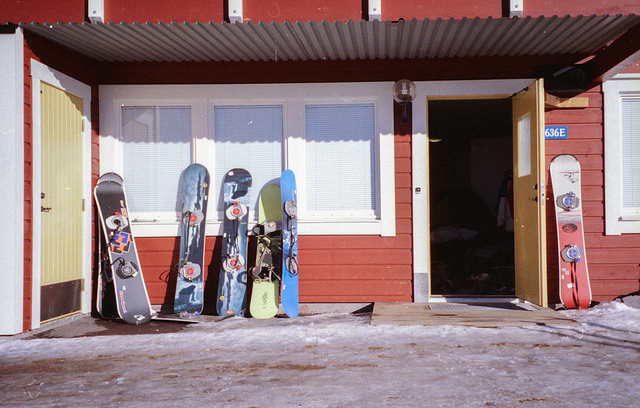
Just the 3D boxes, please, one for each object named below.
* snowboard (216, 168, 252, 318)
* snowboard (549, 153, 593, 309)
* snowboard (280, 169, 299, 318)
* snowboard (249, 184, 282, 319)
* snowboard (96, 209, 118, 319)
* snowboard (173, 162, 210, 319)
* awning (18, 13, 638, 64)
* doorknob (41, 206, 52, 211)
[{"bbox_3d":[-1.216,0.514,9.186,0.439,1.964,0.279,0,0,5],"label":"snowboard"},{"bbox_3d":[3.536,0.433,9.115,0.477,2.264,0.382,-1,2,-1],"label":"snowboard"},{"bbox_3d":[-0.427,0.543,9.017,0.255,1.929,0.211,0,-3,3],"label":"snowboard"},{"bbox_3d":[-0.751,0.672,9.243,0.425,1.878,0.374,1,-2,-1],"label":"snowboard"},{"bbox_3d":[-2.992,0.926,9.112,0.197,1.330,0.352,-2,-2,33],"label":"snowboard"},{"bbox_3d":[-1.827,0.516,9.113,0.475,2.125,0.321,0,-4,1],"label":"snowboard"},{"bbox_3d":[0.193,-2.219,8.787,7.485,0.578,1.158,0,15,1],"label":"awning"},{"bbox_3d":[-3.653,0.052,8.650,0.029,0.064,0.149,9,18,34],"label":"doorknob"}]
